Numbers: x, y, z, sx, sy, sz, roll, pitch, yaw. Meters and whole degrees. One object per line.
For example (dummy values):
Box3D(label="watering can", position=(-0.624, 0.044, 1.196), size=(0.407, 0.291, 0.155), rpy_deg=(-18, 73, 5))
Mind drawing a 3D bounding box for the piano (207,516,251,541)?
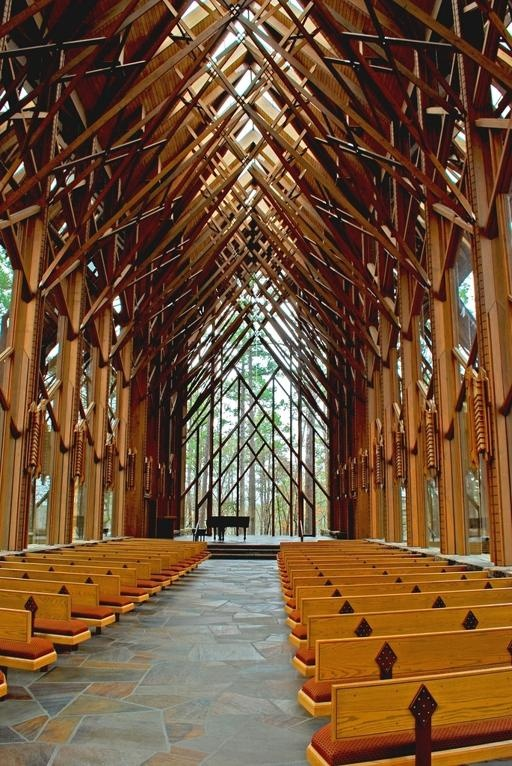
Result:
Box3D(label="piano", position=(-1.027, 4.868, 19.737), size=(1.238, 0.894, 3.528), rpy_deg=(1, -18, -5))
